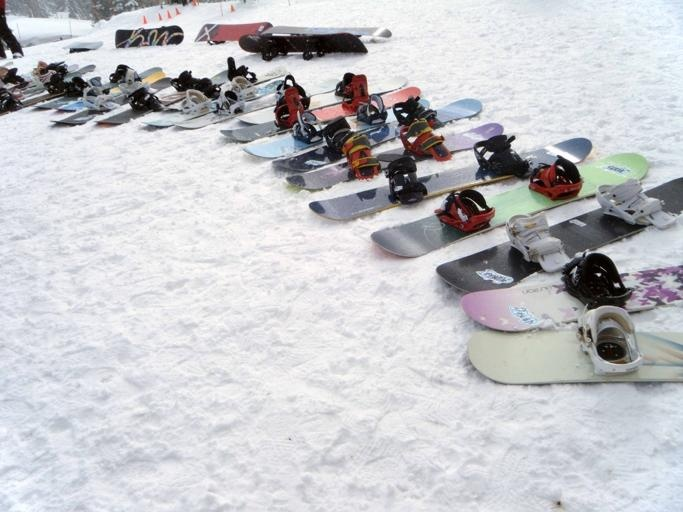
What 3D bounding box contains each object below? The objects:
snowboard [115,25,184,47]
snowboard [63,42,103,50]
[{"bbox_3d":[-4.209,-4.694,13.943,1.750,0.438,0.542,11,38,25],"label":"snowboard"},{"bbox_3d":[-5.901,-4.766,14.712,0.710,0.143,0.442,7,31,18],"label":"snowboard"}]
